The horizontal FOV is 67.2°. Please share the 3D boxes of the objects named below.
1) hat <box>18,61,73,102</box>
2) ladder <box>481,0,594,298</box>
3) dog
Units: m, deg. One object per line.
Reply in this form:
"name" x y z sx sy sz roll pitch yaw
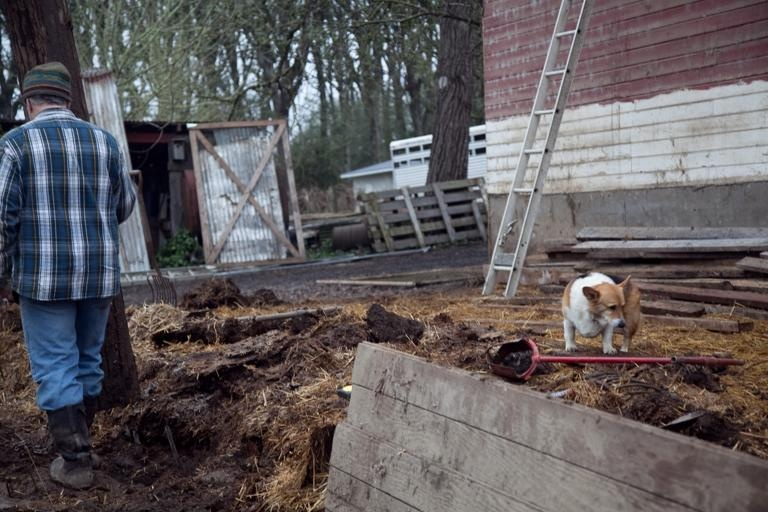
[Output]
"hat" -3.202 -1.649 5.556 0.398 0.335 0.404 -5 3 -12
"ladder" 2.433 -1.828 9.188 1.632 4.687 2.026 -1 6 20
"dog" 2.118 0.512 5.601 0.478 0.692 1.002 0 -3 11
